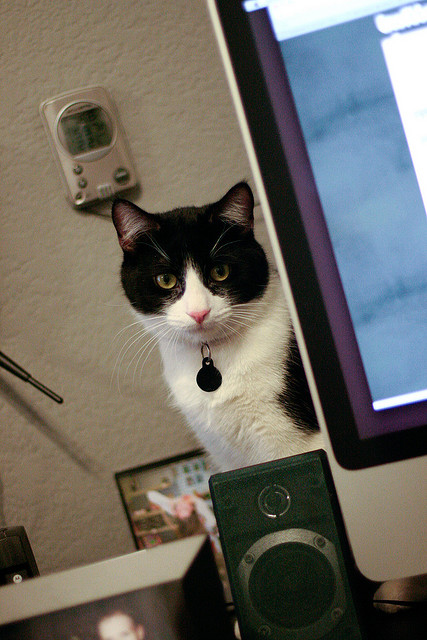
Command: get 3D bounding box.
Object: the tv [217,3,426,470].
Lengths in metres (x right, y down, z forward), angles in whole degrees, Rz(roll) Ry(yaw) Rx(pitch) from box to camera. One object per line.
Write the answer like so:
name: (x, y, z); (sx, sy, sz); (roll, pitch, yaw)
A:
tv: (0.124, -0.087, 0.455); (0.150, 0.315, 0.223); (-17, 33, 12)

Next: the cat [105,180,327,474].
cat: (0.015, 0.054, 0.911); (0.221, 0.477, 0.457); (-7, 10, 10)
